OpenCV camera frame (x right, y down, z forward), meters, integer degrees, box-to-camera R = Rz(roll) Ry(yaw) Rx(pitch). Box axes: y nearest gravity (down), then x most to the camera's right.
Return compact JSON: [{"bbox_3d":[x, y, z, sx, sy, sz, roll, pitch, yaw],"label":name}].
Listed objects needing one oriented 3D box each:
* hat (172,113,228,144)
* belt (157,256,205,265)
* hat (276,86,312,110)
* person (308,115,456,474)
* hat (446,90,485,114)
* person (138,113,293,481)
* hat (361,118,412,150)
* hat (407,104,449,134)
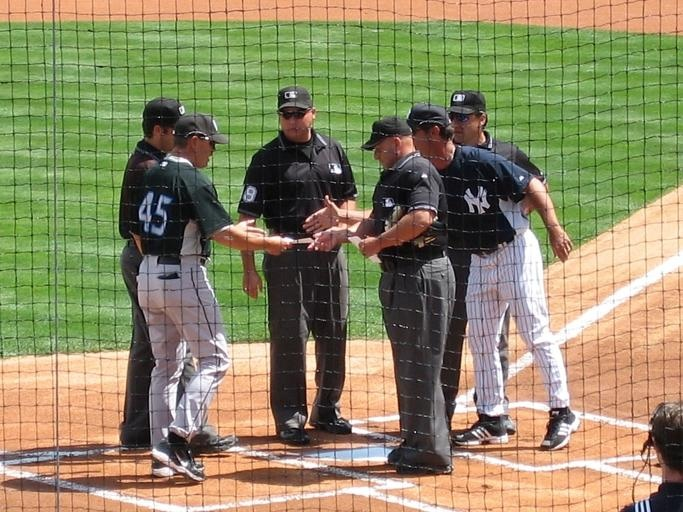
[{"bbox_3d":[-1.322,-1.193,12.716,0.491,0.173,0.284,1,7,-17],"label":"hat"},{"bbox_3d":[-1.519,0.036,12.557,0.388,0.077,0.067,-3,9,-11],"label":"belt"},{"bbox_3d":[-0.462,-1.540,13.241,0.324,0.224,0.231,-2,8,-1],"label":"hat"},{"bbox_3d":[0.619,0.362,12.814,0.834,3.322,0.952,-6,10,-20],"label":"person"},{"bbox_3d":[1.232,-1.516,13.455,0.386,0.131,0.237,1,3,-4],"label":"hat"},{"bbox_3d":[-1.356,0.375,12.656,1.094,3.381,0.809,-4,10,-8],"label":"person"},{"bbox_3d":[0.413,-1.170,12.898,0.486,0.181,0.277,-6,6,1],"label":"hat"},{"bbox_3d":[0.807,-1.312,12.845,0.402,0.172,0.236,-11,16,-26],"label":"hat"}]
